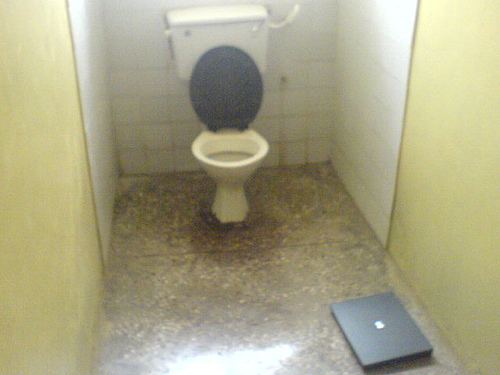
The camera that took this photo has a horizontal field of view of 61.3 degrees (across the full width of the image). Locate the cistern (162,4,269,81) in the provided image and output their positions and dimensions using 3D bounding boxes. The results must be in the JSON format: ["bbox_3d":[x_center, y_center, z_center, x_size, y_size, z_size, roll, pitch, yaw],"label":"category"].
[{"bbox_3d":[-0.171,-0.770,2.226,0.627,0.197,0.491,-3,-26,-3],"label":"cistern"}]

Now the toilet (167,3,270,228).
[{"bbox_3d":[-0.111,-0.497,2.263,0.520,0.957,0.420,-7,-18,-2],"label":"toilet"}]

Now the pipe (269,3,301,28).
[{"bbox_3d":[0.218,-0.937,2.346,0.153,0.127,0.032,-10,8,12],"label":"pipe"}]

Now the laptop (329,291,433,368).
[{"bbox_3d":[0.522,0.573,1.696,0.308,0.235,0.174,-5,-18,-6],"label":"laptop"}]
